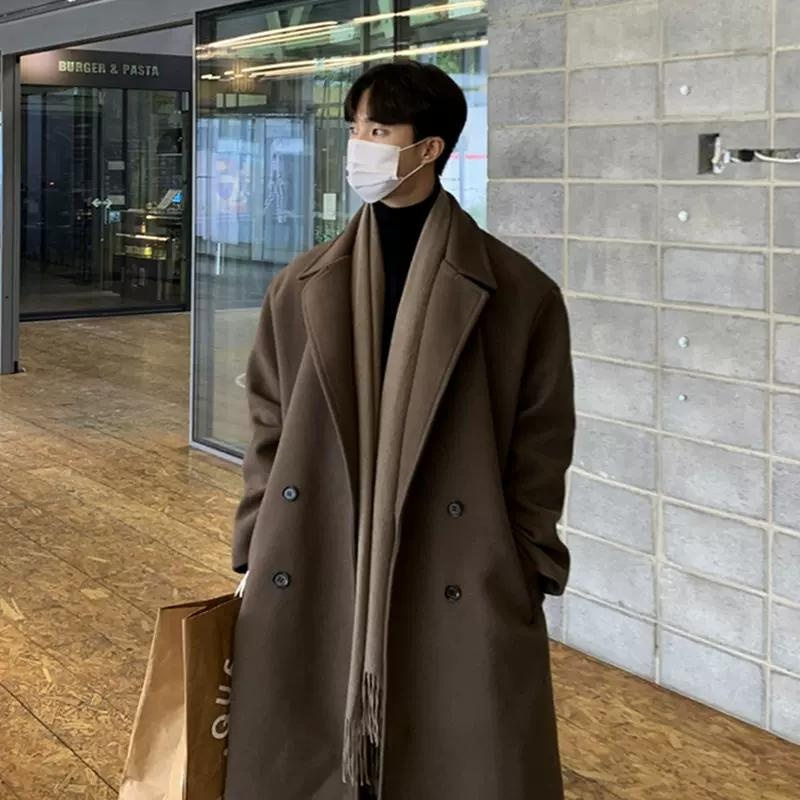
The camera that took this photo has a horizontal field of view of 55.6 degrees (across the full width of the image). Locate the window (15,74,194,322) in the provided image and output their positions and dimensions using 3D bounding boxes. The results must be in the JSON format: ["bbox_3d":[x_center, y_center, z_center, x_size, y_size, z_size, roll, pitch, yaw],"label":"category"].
[{"bbox_3d":[-5.062,-3.425,12.955,2.762,4.347,0.157,-2,-11,-12],"label":"window"}]

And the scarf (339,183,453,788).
[{"bbox_3d":[-0.002,0.133,1.201,0.160,0.905,0.317,0,10,2],"label":"scarf"}]

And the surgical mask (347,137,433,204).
[{"bbox_3d":[-0.026,-0.389,1.246,0.120,0.095,0.154,16,31,28],"label":"surgical mask"}]
